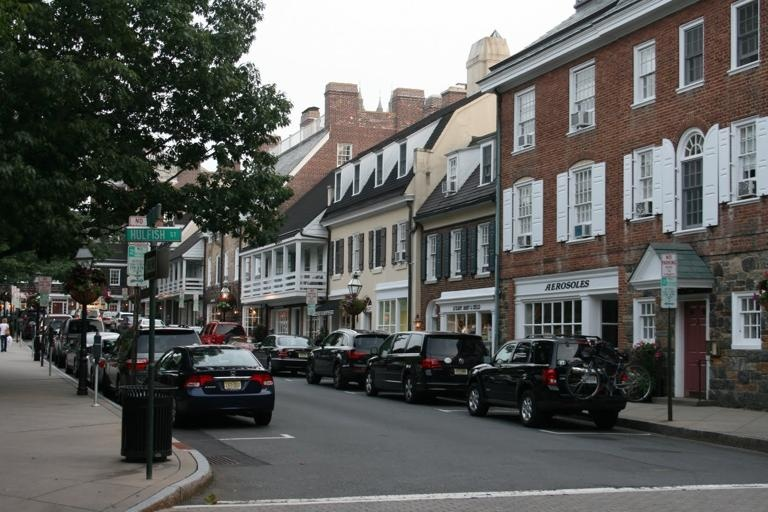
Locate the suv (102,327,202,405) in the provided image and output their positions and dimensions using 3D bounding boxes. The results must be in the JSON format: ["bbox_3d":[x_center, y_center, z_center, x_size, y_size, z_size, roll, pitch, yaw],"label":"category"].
[{"bbox_3d":[-6.648,3.029,26.379,1.911,1.714,4.094,2,-3,-23],"label":"suv"}]

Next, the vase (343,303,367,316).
[{"bbox_3d":[-1.414,2.499,45.180,0.781,0.496,0.786,3,-11,-12],"label":"vase"}]

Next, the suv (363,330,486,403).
[{"bbox_3d":[1.325,3.643,30.204,2.156,2.276,5.303,9,-12,-33],"label":"suv"}]

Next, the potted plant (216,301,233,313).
[{"bbox_3d":[-11.436,3.503,66.619,0.981,0.807,1.460,4,-10,-9],"label":"potted plant"}]

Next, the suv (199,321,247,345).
[{"bbox_3d":[-7.478,3.660,43.842,1.187,1.086,2.029,2,0,-25],"label":"suv"}]

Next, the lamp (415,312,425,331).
[{"bbox_3d":[1.600,2.952,42.550,0.361,0.761,0.606,8,-11,-32],"label":"lamp"}]

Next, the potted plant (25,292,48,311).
[{"bbox_3d":[-24.180,3.131,64.236,1.365,2.012,1.091,4,9,-11],"label":"potted plant"}]

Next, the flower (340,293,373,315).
[{"bbox_3d":[-1.489,2.279,45.403,1.063,0.744,1.086,-6,-11,27],"label":"flower"}]

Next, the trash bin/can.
[{"bbox_3d":[-4.627,3.258,18.302,1.296,1.639,1.280,5,-7,-30],"label":"trash bin/can"}]
